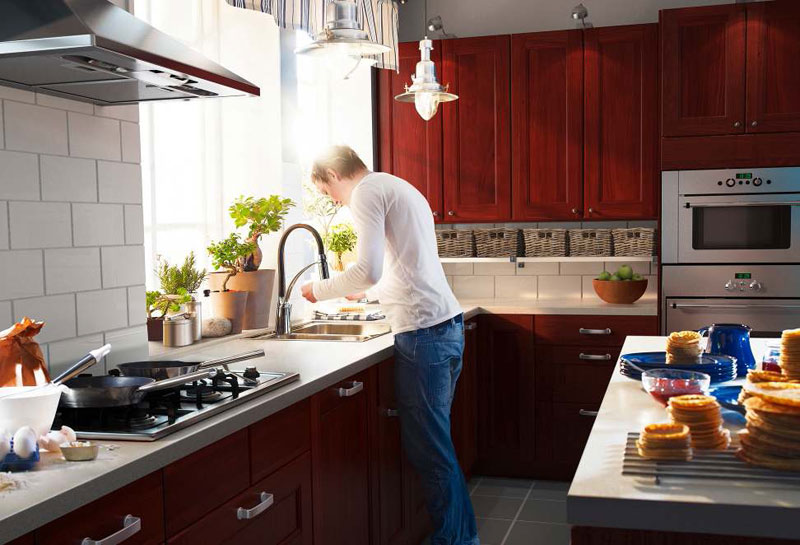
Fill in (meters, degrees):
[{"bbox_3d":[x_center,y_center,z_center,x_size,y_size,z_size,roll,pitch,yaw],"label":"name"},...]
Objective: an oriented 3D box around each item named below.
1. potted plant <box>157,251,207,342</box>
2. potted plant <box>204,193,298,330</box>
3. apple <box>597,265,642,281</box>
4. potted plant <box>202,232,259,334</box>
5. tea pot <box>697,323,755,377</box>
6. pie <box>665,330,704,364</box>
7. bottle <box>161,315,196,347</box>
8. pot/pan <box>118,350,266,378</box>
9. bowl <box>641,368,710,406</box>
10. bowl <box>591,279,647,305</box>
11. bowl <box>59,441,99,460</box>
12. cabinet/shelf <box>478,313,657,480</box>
[{"bbox_3d":[-0.971,0.108,2.884,0.179,0.310,0.160,-19,1,-15],"label":"potted plant"},{"bbox_3d":[-0.758,-0.048,3.233,0.398,0.667,0.345,-2,2,-22],"label":"potted plant"},{"bbox_3d":[1.411,0.011,4.087,0.265,0.083,0.177,-1,5,25],"label":"apple"},{"bbox_3d":[-0.812,0.047,3.100,0.197,0.447,0.254,2,4,23],"label":"potted plant"},{"bbox_3d":[1.082,0.278,2.126,0.199,0.185,0.146,-5,-14,41],"label":"tea pot"},{"bbox_3d":[0.904,0.238,2.038,0.109,0.100,0.108,-10,8,-40],"label":"pie"},{"bbox_3d":[-0.953,0.257,2.718,0.156,0.127,0.094,-4,6,-44],"label":"bottle"},{"bbox_3d":[-0.707,0.306,2.066,0.293,0.043,0.172,-2,-1,-32],"label":"pot/pan"},{"bbox_3d":[0.741,0.296,1.697,0.121,0.064,0.119,-2,2,0],"label":"bowl"},{"bbox_3d":[1.394,0.127,4.051,0.213,0.096,0.210,-1,-4,0],"label":"bowl"},{"bbox_3d":[-0.750,0.424,1.485,0.089,0.036,0.026,-2,5,8],"label":"bowl"},{"bbox_3d":[1.092,0.758,4.207,1.188,1.049,0.621,0,2,13],"label":"cabinet/shelf"}]
